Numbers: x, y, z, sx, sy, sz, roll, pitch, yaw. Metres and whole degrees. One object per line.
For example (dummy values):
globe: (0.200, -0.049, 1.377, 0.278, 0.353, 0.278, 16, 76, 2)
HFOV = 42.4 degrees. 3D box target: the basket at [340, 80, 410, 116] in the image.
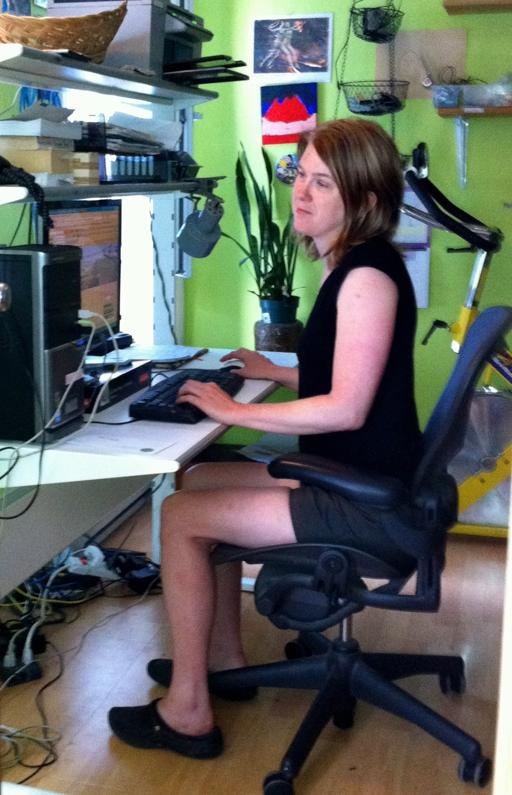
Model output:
basket: (0.485, -1.276, 2.774, 0.296, 0.156, 0.216, 4, 9, 10)

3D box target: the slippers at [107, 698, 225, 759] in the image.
slippers: (-0.196, 0.703, 1.427, 0.259, 0.094, 0.103, 9, 11, 19)

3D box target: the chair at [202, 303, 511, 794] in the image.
chair: (0.229, 0.206, 1.823, 0.895, 1.243, 0.912, 2, 8, 10)
